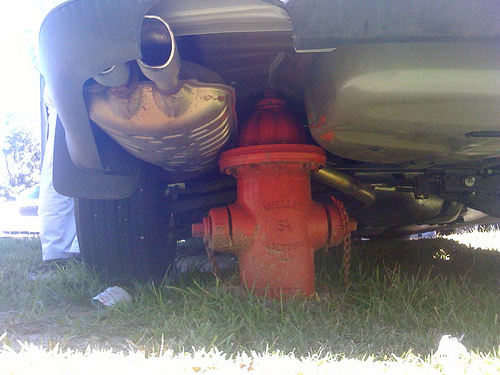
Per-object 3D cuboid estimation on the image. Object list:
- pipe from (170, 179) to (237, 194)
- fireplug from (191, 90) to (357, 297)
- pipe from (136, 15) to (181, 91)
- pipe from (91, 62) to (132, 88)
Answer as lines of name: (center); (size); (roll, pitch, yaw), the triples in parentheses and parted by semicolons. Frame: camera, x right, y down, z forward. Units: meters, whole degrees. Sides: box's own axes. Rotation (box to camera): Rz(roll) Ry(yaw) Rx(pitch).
pipe: (-0.220, -0.008, 2.194); (0.321, 0.047, 0.043); (-4, -14, 10)
fireplug: (0.110, 0.016, 1.852); (0.674, 0.847, 0.304); (-3, 5, -19)
pipe: (-0.265, -0.412, 1.373); (0.119, 0.213, 0.185); (-4, -11, 4)
pipe: (-0.435, -0.359, 1.397); (0.101, 0.077, 0.086); (-1, 5, 9)
